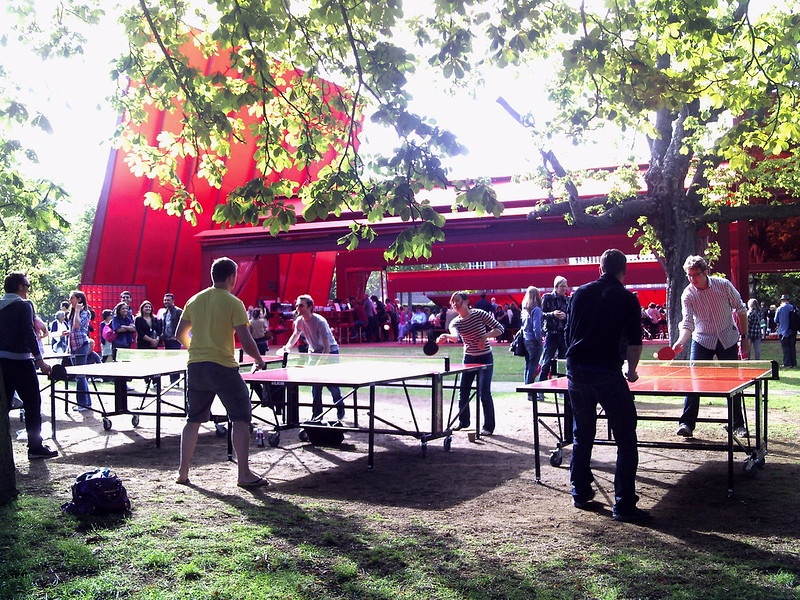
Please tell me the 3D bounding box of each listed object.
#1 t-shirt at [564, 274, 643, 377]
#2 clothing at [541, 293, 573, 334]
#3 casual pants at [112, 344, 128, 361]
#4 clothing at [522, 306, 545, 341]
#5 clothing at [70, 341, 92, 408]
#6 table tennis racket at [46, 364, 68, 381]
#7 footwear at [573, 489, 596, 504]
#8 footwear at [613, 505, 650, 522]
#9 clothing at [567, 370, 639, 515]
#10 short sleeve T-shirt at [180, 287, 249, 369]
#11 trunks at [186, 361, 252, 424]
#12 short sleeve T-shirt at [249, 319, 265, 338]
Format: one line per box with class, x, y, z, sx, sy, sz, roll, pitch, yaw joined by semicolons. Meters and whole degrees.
t-shirt;1.831;0.211;6.443;0.730;0.882;0.468;1;-4;40
clothing;2.440;0.225;11.076;0.579;0.673;0.365;2;-12;-3
casual pants;-5.323;0.984;13.364;0.358;0.241;0.231;0;-2;-35
clothing;2.283;0.410;12.025;0.327;0.592;0.572;2;-1;-24
clothing;-5.619;1.325;12.689;0.323;1.261;0.303;7;7;-9
table tennis racket;-4.296;0.909;8.840;0.221;0.237;0.054;-9;14;22
footwear;1.744;1.836;6.631;0.251;0.121;0.090;-14;11;-36
footwear;2.009;1.863;6.180;0.305;0.157;0.123;-2;0;-3
clothing;1.824;1.227;6.403;0.620;1.280;0.384;-2;-2;27
short sleeve T-shirt;-1.941;0.291;7.318;0.775;0.848;0.439;5;-1;10
trunks;-1.873;0.943;7.198;0.656;0.630;0.284;-1;-2;-7
short sleeve T-shirt;-2.712;0.529;13.288;0.335;0.336;0.182;0;10;-1
